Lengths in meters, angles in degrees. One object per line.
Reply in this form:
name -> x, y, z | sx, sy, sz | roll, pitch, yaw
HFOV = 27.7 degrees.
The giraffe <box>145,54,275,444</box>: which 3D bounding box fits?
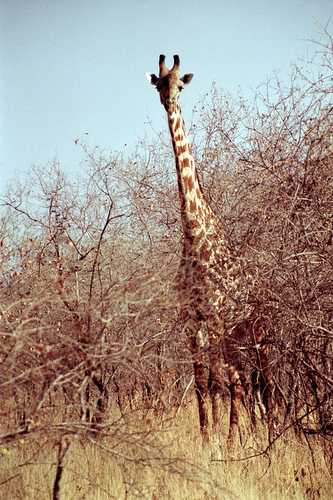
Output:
giraffe -> 0.366, -0.160, 6.121 | 0.790, 3.713, 1.445 | -8, -26, 4
